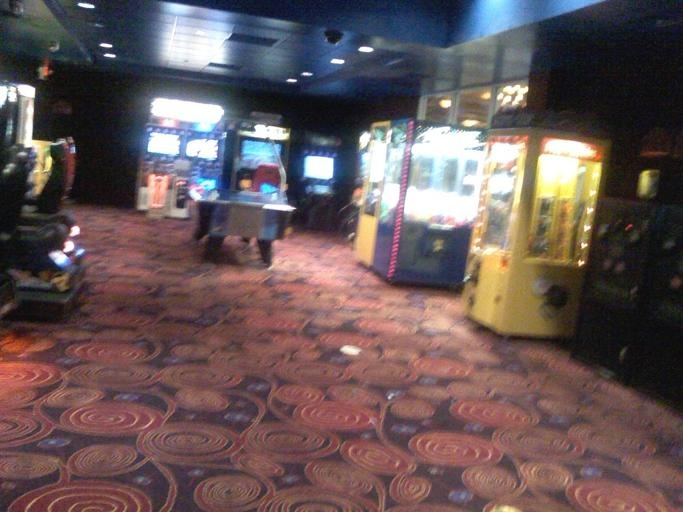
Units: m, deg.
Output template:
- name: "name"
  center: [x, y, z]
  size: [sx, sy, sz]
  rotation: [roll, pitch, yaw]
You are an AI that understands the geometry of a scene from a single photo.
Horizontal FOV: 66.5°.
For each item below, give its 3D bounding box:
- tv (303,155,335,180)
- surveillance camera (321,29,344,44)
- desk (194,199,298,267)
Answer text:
- name: "tv"
  center: [-0.536, -2.065, 12.151]
  size: [0.786, 0.534, 0.156]
  rotation: [0, 11, -9]
- name: "surveillance camera"
  center: [-0.089, -2.464, 5.873]
  size: [0.193, 0.105, 0.171]
  rotation: [-3, 10, -20]
- name: "desk"
  center: [-1.492, -0.295, 7.611]
  size: [1.568, 0.624, 1.648]
  rotation: [6, -3, -4]
